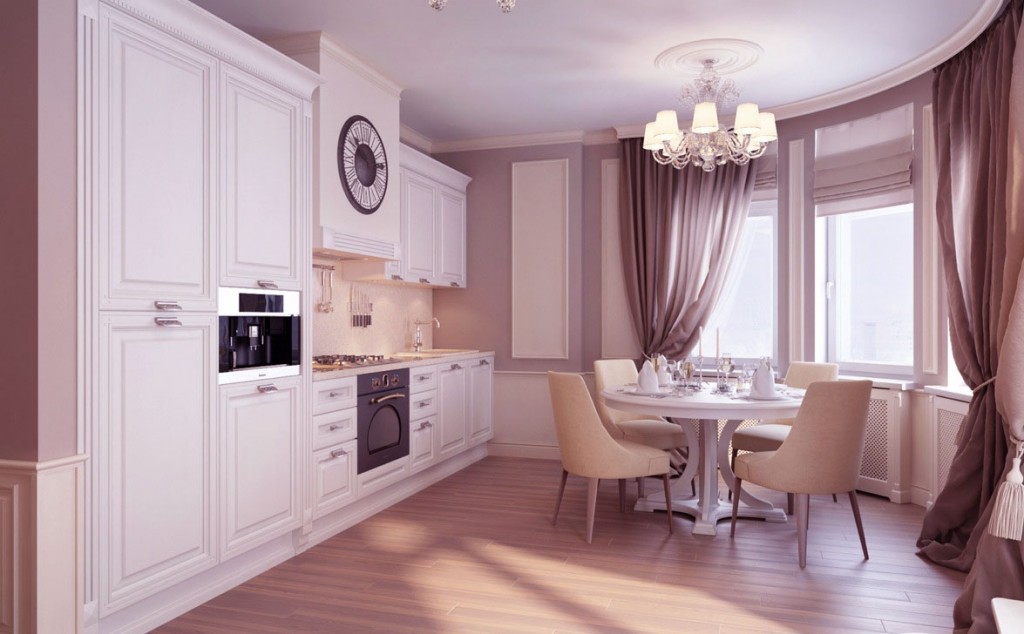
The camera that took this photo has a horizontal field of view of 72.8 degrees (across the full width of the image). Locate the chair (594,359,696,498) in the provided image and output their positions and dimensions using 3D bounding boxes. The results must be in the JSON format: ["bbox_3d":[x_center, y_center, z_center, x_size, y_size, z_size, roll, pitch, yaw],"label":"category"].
[{"bbox_3d":[1.152,0.957,6.189,0.787,1.141,0.818,1,0,-41],"label":"chair"}]

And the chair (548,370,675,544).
[{"bbox_3d":[0.761,1.024,5.487,0.959,1.145,0.840,0,1,-36],"label":"chair"}]

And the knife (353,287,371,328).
[{"bbox_3d":[-1.396,-0.088,6.403,0.020,0.385,0.368,-2,-4,19],"label":"knife"}]

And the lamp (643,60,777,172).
[{"bbox_3d":[1.616,-1.680,5.762,1.071,0.926,1.069,0,2,10],"label":"lamp"}]

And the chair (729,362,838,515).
[{"bbox_3d":[2.349,1.219,5.866,0.824,1.164,0.919,8,-5,11],"label":"chair"}]

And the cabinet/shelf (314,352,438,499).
[{"bbox_3d":[-1.252,0.927,5.814,0.628,1.067,1.323,6,9,36],"label":"cabinet/shelf"}]

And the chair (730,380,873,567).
[{"bbox_3d":[2.125,1.120,5.208,0.888,1.277,0.986,0,0,5],"label":"chair"}]

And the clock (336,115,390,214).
[{"bbox_3d":[-1.207,-1.242,5.735,0.039,0.777,0.778,-11,-5,-43],"label":"clock"}]

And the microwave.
[{"bbox_3d":[-1.731,0.129,4.680,0.339,0.626,0.674,-2,-3,31],"label":"microwave"}]

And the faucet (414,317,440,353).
[{"bbox_3d":[-0.962,0.195,7.396,0.324,0.412,0.291,-1,-2,29],"label":"faucet"}]

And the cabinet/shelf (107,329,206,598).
[{"bbox_3d":[-2.122,0.830,4.178,0.736,1.567,0.295,-8,13,-39],"label":"cabinet/shelf"}]
